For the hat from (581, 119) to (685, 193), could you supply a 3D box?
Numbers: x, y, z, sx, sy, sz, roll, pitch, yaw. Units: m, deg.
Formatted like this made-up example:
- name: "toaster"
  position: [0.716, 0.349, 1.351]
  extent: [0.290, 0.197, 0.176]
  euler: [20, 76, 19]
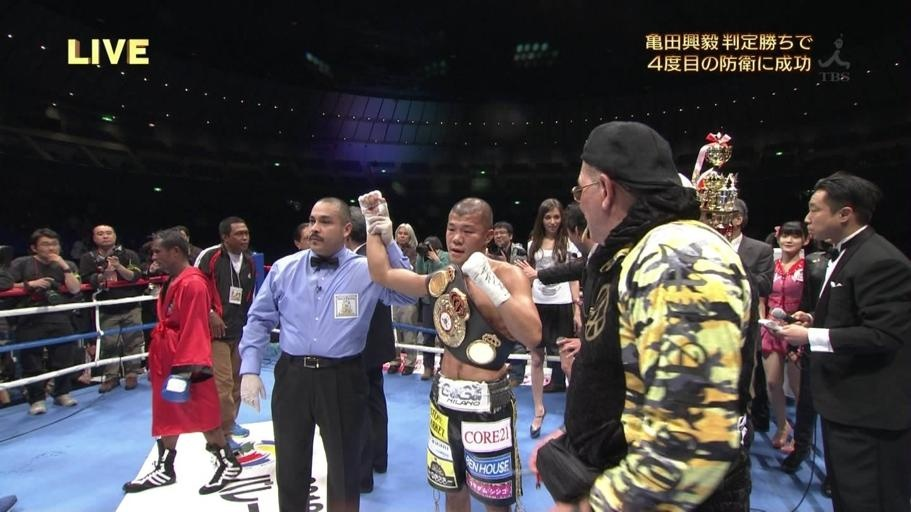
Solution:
- name: "hat"
  position: [2.712, -1.572, 9.287]
  extent: [1.407, 0.643, 1.051]
  euler: [15, 27, 41]

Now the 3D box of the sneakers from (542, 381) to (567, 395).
- name: "sneakers"
  position: [2.274, 3.094, 13.963]
  extent: [0.698, 0.259, 0.220]
  euler: [-4, -2, -4]

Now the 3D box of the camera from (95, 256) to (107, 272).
- name: "camera"
  position: [-8.136, 0.206, 13.993]
  extent: [0.281, 0.327, 0.130]
  euler: [2, 5, -7]

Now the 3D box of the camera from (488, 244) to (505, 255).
- name: "camera"
  position: [1.042, -0.135, 15.879]
  extent: [0.320, 0.280, 0.315]
  euler: [-9, -22, 28]

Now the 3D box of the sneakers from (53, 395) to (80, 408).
- name: "sneakers"
  position: [-8.605, 3.270, 13.486]
  extent: [0.521, 0.200, 0.205]
  euler: [-2, -4, 25]

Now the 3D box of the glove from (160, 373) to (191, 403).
- name: "glove"
  position: [-5.114, 2.485, 11.374]
  extent: [0.550, 0.465, 0.499]
  euler: [6, -1, 3]

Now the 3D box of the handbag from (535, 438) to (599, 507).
- name: "handbag"
  position: [1.649, 3.357, 9.212]
  extent: [0.958, 0.871, 0.394]
  euler: [-16, -6, 9]
